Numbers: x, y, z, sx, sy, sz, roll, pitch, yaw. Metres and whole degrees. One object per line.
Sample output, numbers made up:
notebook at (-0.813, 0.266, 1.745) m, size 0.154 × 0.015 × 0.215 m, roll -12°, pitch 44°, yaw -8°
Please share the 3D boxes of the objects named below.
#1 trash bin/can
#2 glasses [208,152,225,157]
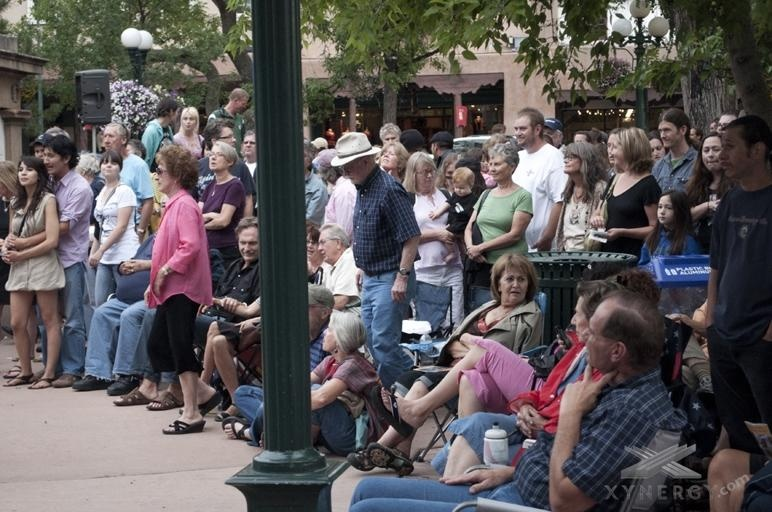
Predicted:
trash bin/can at (2.035, 0.498, 14.672) m, size 1.021 × 0.979 × 1.030 m, roll 0°, pitch 2°, yaw 27°
glasses at (-2.192, -1.295, 17.876) m, size 0.130 × 0.041 × 0.134 m, roll 0°, pitch -2°, yaw 17°
